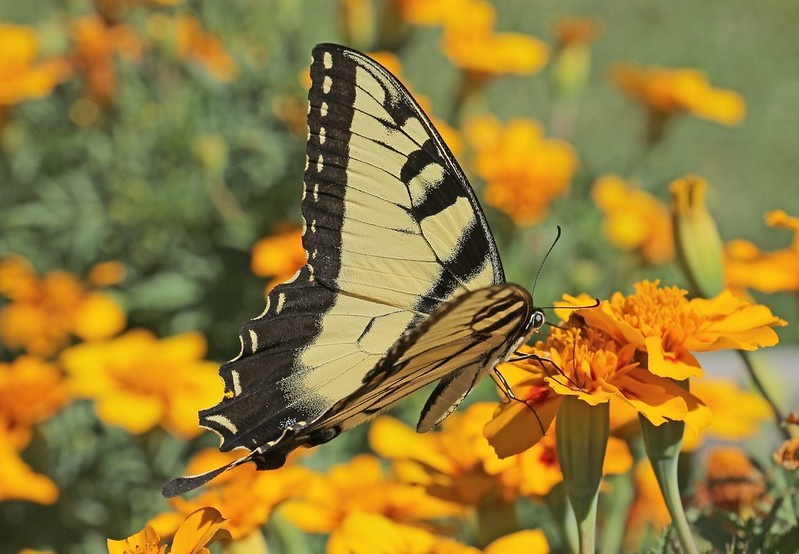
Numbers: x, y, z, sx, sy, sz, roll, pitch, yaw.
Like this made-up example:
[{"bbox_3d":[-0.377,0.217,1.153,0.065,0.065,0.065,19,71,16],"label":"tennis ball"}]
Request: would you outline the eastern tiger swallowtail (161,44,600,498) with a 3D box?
[{"bbox_3d":[-0.042,0.011,1.592,0.622,0.638,0.489,-7,86,16],"label":"eastern tiger swallowtail"}]
